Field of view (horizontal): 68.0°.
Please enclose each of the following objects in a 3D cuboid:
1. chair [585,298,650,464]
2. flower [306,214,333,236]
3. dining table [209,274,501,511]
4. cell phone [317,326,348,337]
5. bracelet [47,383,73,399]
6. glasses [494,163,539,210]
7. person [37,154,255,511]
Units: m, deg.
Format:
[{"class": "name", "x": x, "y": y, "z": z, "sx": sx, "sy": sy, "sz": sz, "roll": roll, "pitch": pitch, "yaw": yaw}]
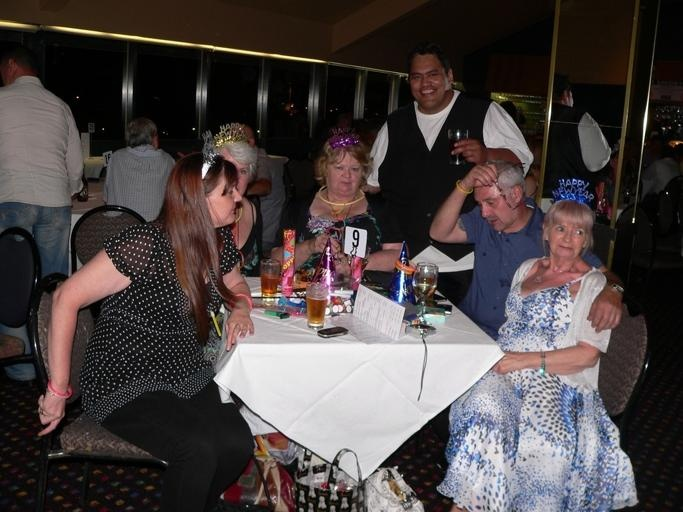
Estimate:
[{"class": "chair", "x": 1.242, "y": 0.512, "z": 2.243, "sx": 0.141, "sy": 0.583, "sz": 0.230, "roll": 5, "pitch": 11, "yaw": 17}, {"class": "flower", "x": -0.126, "y": -0.170, "z": 2.880, "sx": 0.153, "sy": 0.105, "sz": 0.098, "roll": 3, "pitch": 11, "yaw": 6}, {"class": "dining table", "x": 0.084, "y": 0.502, "z": 1.986, "sx": 0.708, "sy": 0.347, "sz": 0.715, "roll": -3, "pitch": 20, "yaw": -15}, {"class": "cell phone", "x": -0.037, "y": 0.300, "z": 2.030, "sx": 0.081, "sy": 0.021, "sz": 0.048, "roll": -2, "pitch": 10, "yaw": -19}, {"class": "bracelet", "x": -1.082, "y": 0.514, "z": 1.935, "sx": 0.081, "sy": 0.071, "sz": 0.047, "roll": -5, "pitch": 13, "yaw": -33}, {"class": "glasses", "x": 0.874, "y": -0.347, "z": 2.539, "sx": 0.069, "sy": 0.239, "sz": 0.228, "roll": -27, "pitch": 25, "yaw": -27}, {"class": "person", "x": -0.739, "y": 0.270, "z": 1.906, "sx": 0.783, "sy": 1.317, "sz": 0.507, "roll": -1, "pitch": 11, "yaw": -14}]
